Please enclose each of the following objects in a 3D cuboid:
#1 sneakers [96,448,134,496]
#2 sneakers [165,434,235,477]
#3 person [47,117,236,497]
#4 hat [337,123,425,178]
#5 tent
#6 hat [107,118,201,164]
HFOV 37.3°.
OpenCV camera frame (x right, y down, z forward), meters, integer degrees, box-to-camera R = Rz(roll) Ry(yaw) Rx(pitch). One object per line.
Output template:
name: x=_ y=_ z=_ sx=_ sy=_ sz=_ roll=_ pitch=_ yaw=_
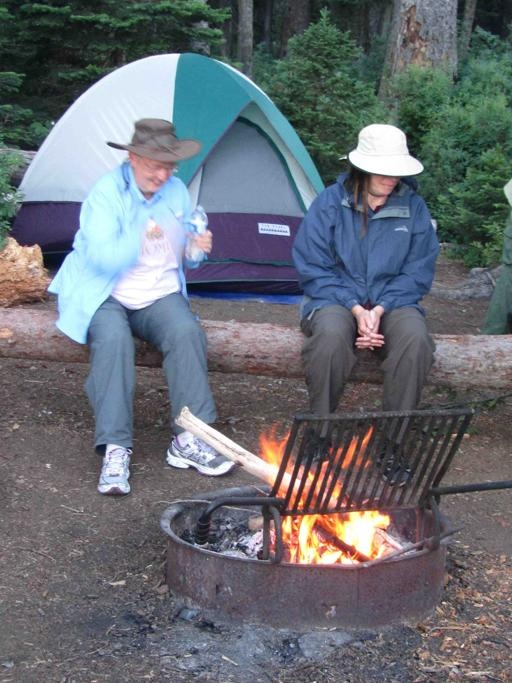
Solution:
sneakers: x=-0.628 y=0.566 z=3.382 sx=0.144 sy=0.185 sz=0.238 roll=2 pitch=15 yaw=-9
sneakers: x=-0.265 y=0.527 z=3.674 sx=0.424 sy=0.193 sz=0.168 roll=5 pitch=18 yaw=17
person: x=-0.533 y=-0.213 z=3.551 sx=0.760 sy=1.617 sz=0.905 roll=-2 pitch=18 yaw=-22
hat: x=0.607 y=-0.912 z=3.601 sx=0.355 sy=0.245 sz=0.339 roll=5 pitch=15 yaw=3
tent: x=-0.709 y=-1.593 z=7.093 sx=3.036 sy=1.756 sz=3.536 roll=-2 pitch=16 yaw=-17
hat: x=-0.504 y=-0.947 z=3.523 sx=0.413 sy=0.128 sz=0.351 roll=8 pitch=10 yaw=22
